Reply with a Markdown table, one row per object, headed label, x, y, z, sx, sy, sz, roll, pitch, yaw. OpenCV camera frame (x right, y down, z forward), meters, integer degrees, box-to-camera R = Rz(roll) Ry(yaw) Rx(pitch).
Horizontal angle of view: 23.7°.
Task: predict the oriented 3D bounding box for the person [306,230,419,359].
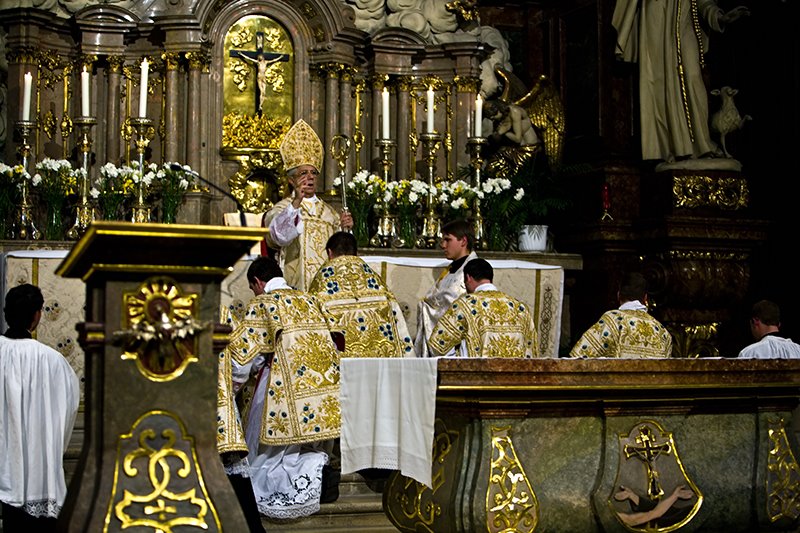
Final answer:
| label | x | y | z | sx | sy | sz | roll | pitch | yaw |
| --- | --- | --- | --- | --- | --- | --- | --- | --- | --- |
| person | -0.354 | 0.241 | 14.979 | 0.732 | 0.913 | 0.265 | -14 | -11 | -27 |

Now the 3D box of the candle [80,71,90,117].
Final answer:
| label | x | y | z | sx | sy | sz | roll | pitch | yaw |
| --- | --- | --- | --- | --- | --- | --- | --- | --- | --- |
| candle | -2.745 | -1.485 | 16.677 | 0.062 | 0.429 | 0.297 | -1 | 0 | -7 |

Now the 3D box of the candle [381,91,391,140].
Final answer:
| label | x | y | z | sx | sy | sz | roll | pitch | yaw |
| --- | --- | --- | --- | --- | --- | --- | --- | --- | --- |
| candle | -0.130 | -1.320 | 16.784 | 0.053 | 0.456 | 0.170 | -1 | 0 | -7 |

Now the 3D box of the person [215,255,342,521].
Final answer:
| label | x | y | z | sx | sy | sz | roll | pitch | yaw |
| --- | --- | --- | --- | --- | --- | --- | --- | --- | --- |
| person | -0.884 | 0.935 | 14.710 | 0.818 | 1.981 | 0.485 | -1 | 0 | -3 |

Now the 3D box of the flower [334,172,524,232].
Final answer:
| label | x | y | z | sx | sy | sz | roll | pitch | yaw |
| --- | --- | --- | --- | --- | --- | --- | --- | --- | --- |
| flower | 0.250 | -0.600 | 17.015 | 1.275 | 0.341 | 0.707 | 1 | -4 | -7 |

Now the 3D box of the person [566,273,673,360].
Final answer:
| label | x | y | z | sx | sy | sz | roll | pitch | yaw |
| --- | --- | --- | --- | --- | --- | --- | --- | --- | --- |
| person | 1.683 | 0.380 | 14.724 | 0.738 | 0.633 | 0.402 | -1 | 0 | 7 |

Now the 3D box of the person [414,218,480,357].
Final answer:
| label | x | y | z | sx | sy | sz | roll | pitch | yaw |
| --- | --- | --- | --- | --- | --- | --- | --- | --- | --- |
| person | 0.379 | 0.364 | 16.037 | 0.437 | 1.255 | 0.369 | 15 | 20 | 21 |

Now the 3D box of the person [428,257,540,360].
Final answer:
| label | x | y | z | sx | sy | sz | roll | pitch | yaw |
| --- | --- | --- | --- | --- | --- | --- | --- | --- | --- |
| person | 0.600 | 0.349 | 14.881 | 0.623 | 0.970 | 0.287 | 9 | -28 | -14 |
